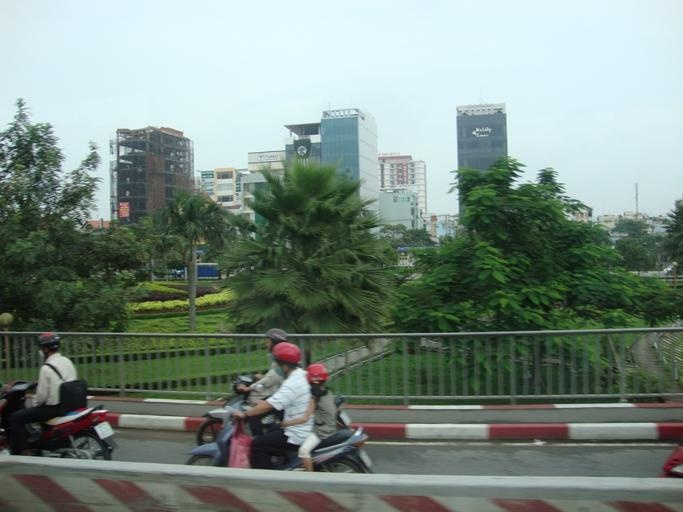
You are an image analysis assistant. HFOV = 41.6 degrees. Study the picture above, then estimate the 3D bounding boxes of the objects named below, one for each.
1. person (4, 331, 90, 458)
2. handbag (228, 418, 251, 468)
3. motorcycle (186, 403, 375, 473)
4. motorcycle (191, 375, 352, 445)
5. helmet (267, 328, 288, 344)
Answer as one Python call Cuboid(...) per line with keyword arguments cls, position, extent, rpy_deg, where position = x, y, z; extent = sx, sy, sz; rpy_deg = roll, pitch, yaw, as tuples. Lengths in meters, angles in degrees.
Cuboid(cls="person", position=(-4.123, 1.911, 12.406), extent=(0.559, 1.638, 0.706), rpy_deg=(-1, -1, 43))
Cuboid(cls="handbag", position=(-1.314, 2.432, 11.660), extent=(0.294, 0.606, 0.213), rpy_deg=(1, -1, -18))
Cuboid(cls="motorcycle", position=(-0.760, 2.580, 12.219), extent=(2.519, 0.869, 0.766), rpy_deg=(2, -18, 7))
Cuboid(cls="motorcycle", position=(-0.891, 2.252, 12.376), extent=(2.459, 0.842, 0.796), rpy_deg=(-3, -4, 16))
Cuboid(cls="helmet", position=(-0.956, 1.118, 12.654), extent=(0.307, 0.103, 0.229), rpy_deg=(6, 6, 38))
